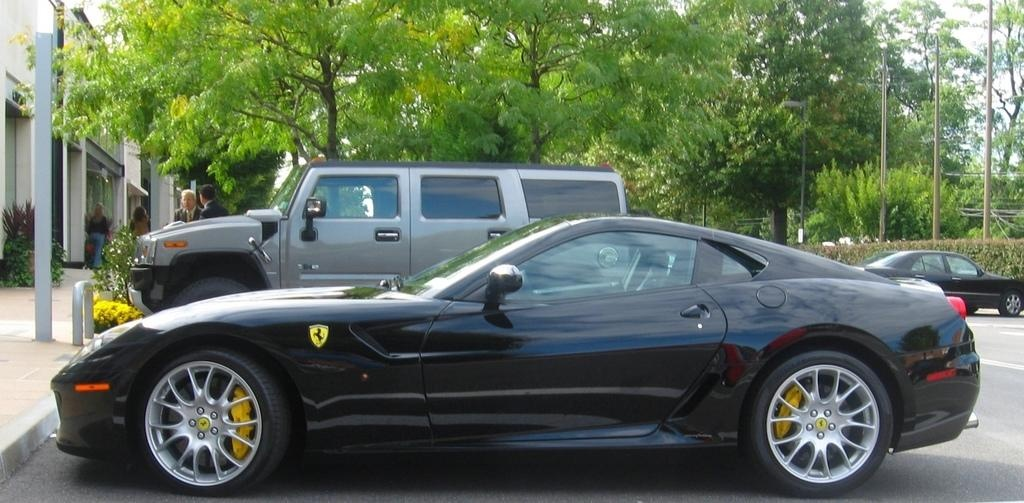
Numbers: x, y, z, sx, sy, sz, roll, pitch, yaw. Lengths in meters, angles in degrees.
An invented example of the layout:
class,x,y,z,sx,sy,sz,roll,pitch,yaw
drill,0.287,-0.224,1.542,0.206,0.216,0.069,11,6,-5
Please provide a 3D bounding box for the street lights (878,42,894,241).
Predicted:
class,x,y,z,sx,sy,sz,roll,pitch,yaw
street lights,24.414,-7.055,56.674,0.740,13.469,0.675,-10,18,0
